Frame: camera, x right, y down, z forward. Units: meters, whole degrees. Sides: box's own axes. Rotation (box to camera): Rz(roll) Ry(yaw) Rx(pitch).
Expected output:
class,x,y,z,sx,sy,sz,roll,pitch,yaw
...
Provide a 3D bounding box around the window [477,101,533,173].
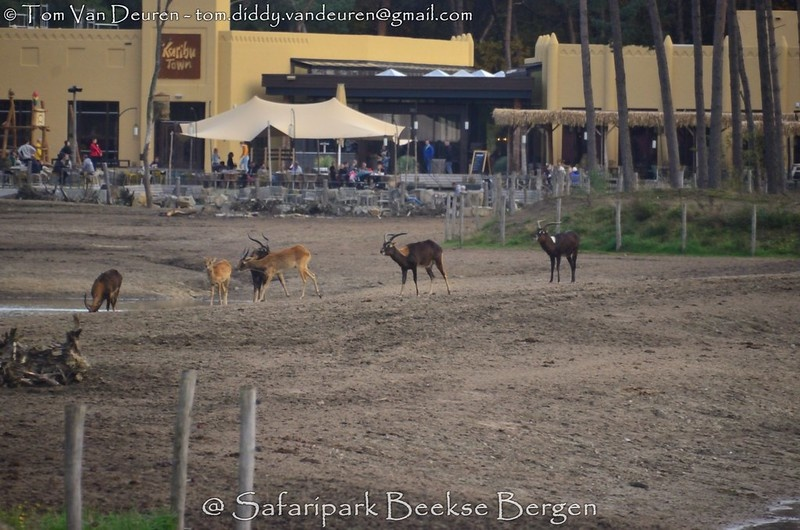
class,x,y,z,sx,sy,sz,roll,pitch,yaw
window,6.201,-7.489,95.061,3.140,4.106,1.212,1,3,25

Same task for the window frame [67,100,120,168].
class,x,y,z,sx,sy,sz,roll,pitch,yaw
window frame,-17.701,-7.666,94.931,2.573,3.888,0.126,-2,20,-7

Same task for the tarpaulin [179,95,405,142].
class,x,y,z,sx,sy,sz,roll,pitch,yaw
tarpaulin,-3.249,-7.749,85.440,8.181,1.783,9.131,9,9,13
